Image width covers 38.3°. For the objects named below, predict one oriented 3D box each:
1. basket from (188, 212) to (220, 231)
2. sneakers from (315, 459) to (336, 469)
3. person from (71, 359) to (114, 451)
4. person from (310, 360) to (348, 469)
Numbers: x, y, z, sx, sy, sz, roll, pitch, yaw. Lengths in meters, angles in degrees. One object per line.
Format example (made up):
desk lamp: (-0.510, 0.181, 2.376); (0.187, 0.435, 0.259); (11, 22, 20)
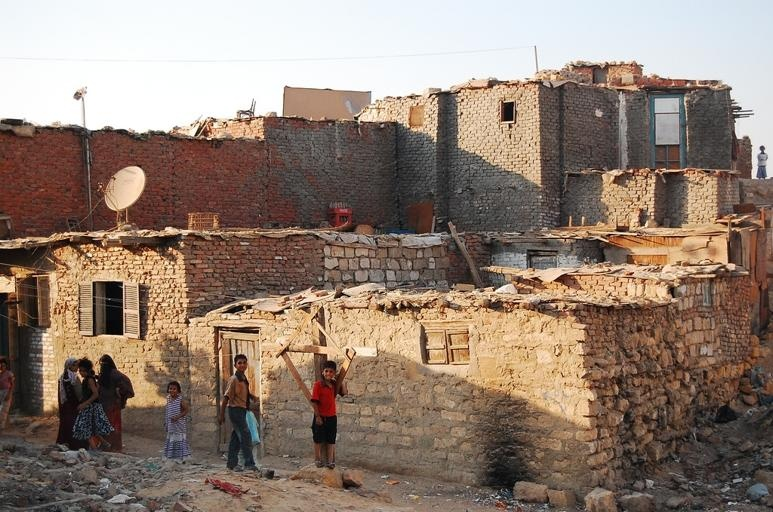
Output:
basket: (-4.521, -0.863, 27.556); (0.752, 0.412, 0.735); (0, -3, -2)
sneakers: (-1.113, 3.760, 20.037); (0.350, 0.086, 0.128); (-2, -33, 13)
person: (-5.770, 2.875, 21.460); (0.663, 1.866, 0.499); (-9, 10, 3)
person: (-1.057, 2.848, 19.886); (0.761, 1.953, 0.384); (-10, 10, -4)
